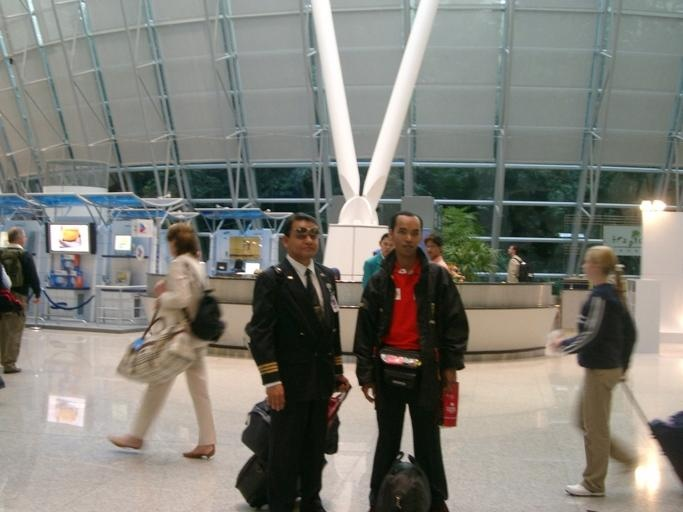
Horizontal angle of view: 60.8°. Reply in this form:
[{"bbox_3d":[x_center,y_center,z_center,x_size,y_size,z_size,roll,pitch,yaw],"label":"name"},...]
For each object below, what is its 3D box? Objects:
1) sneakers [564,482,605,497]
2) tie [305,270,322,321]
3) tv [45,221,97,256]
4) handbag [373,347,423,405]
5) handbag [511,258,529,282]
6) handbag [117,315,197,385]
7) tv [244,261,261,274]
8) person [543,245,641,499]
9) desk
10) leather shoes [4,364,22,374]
[{"bbox_3d":[2.051,1.976,4.935,0.283,0.119,0.114,6,-13,8],"label":"sneakers"},{"bbox_3d":[-0.240,0.261,4.540,0.072,0.522,0.062,-9,-37,-9],"label":"tie"},{"bbox_3d":[-6.936,-0.480,14.946,1.410,0.790,0.303,1,3,13],"label":"tv"},{"bbox_3d":[0.442,0.835,4.351,0.427,0.391,0.315,4,1,15],"label":"handbag"},{"bbox_3d":[4.410,0.340,14.508,0.408,0.732,0.526,0,0,15],"label":"handbag"},{"bbox_3d":[-1.657,0.869,5.178,0.697,0.513,0.205,1,3,16],"label":"handbag"},{"bbox_3d":[-3.002,0.351,19.392,0.395,0.383,0.214,1,-6,-7],"label":"tv"},{"bbox_3d":[2.175,0.966,5.049,0.724,2.103,0.375,-2,4,-32],"label":"person"},{"bbox_3d":[-6.119,1.261,14.954,3.049,1.004,1.058,2,2,12],"label":"desk"},{"bbox_3d":[-4.820,1.650,8.532,0.222,0.093,0.115,-2,4,-26],"label":"leather shoes"}]
